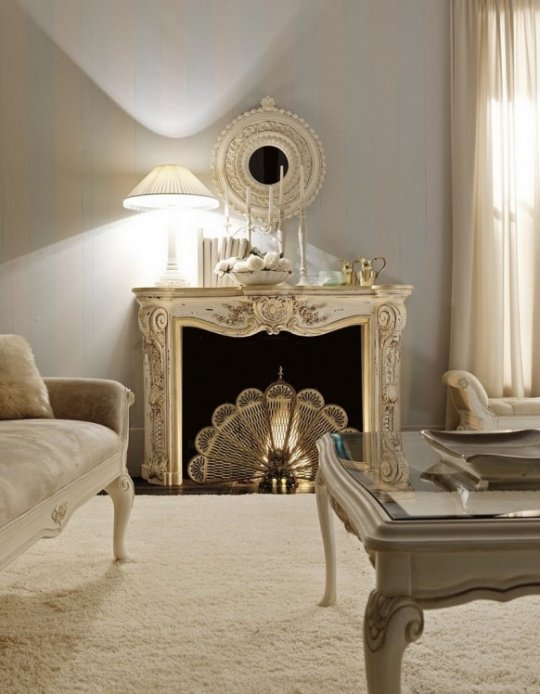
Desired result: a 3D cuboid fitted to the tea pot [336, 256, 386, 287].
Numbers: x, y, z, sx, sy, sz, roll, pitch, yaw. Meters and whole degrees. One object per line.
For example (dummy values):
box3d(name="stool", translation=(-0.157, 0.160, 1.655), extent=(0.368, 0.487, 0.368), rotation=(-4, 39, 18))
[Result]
box3d(name="tea pot", translation=(0.438, -0.370, 3.402), extent=(0.199, 0.136, 0.093), rotation=(0, 5, 0))

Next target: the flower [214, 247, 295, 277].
box3d(name="flower", translation=(-0.085, -0.379, 3.191), extent=(0.283, 0.124, 0.375), rotation=(-1, 4, -25))

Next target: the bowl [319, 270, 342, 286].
box3d(name="bowl", translation=(0.296, -0.328, 3.342), extent=(0.087, 0.064, 0.092), rotation=(2, 7, 0))

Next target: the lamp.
box3d(name="lamp", translation=(-0.471, -0.572, 3.372), extent=(0.493, 0.558, 0.501), rotation=(-1, 1, 40))
